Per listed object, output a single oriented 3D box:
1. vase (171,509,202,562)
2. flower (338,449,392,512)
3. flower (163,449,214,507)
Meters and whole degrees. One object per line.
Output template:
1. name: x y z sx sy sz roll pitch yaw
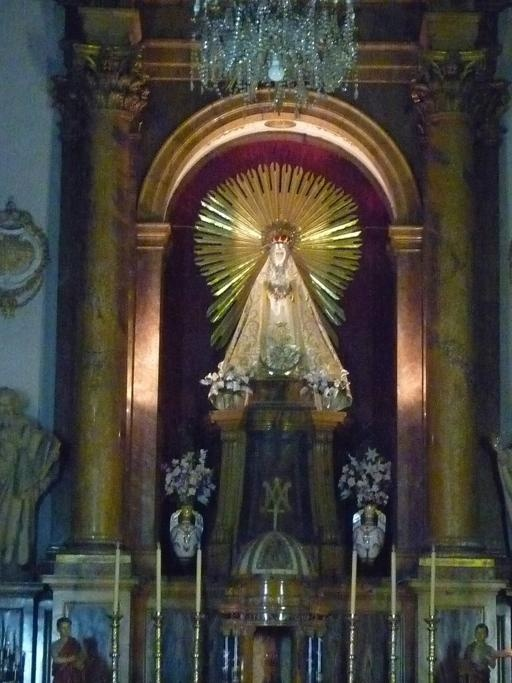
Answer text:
1. vase: -0.405 1.153 8.463 0.182 0.319 0.171 2 -4 -10
2. flower: 0.676 0.848 8.740 0.327 0.427 0.153 -1 -17 -2
3. flower: -0.394 0.845 8.674 0.256 0.297 0.223 -8 -41 -3
